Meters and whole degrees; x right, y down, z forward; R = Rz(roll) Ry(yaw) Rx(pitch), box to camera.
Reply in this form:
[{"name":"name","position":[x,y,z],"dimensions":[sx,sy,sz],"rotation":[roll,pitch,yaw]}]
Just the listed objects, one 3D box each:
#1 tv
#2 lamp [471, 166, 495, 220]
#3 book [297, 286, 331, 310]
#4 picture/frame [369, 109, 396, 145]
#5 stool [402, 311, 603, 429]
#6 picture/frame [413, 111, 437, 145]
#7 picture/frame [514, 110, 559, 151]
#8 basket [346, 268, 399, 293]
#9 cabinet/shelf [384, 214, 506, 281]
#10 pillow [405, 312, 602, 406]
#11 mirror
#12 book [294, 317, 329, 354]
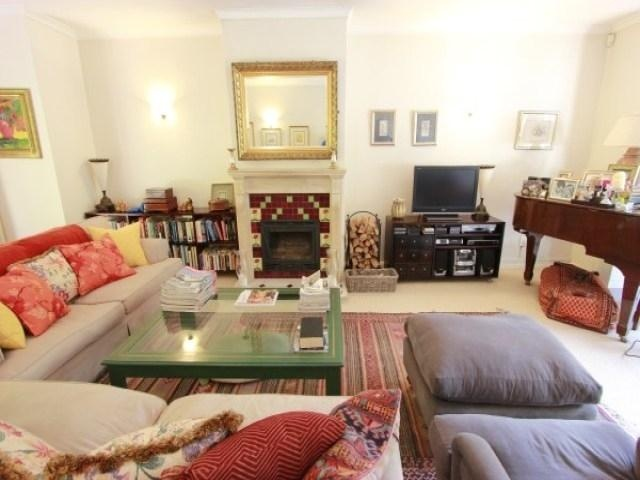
[{"name":"tv","position":[1.466,-0.564,5.182],"dimensions":[0.688,0.492,0.197],"rotation":[0,22,1]},{"name":"lamp","position":[1.917,-0.533,5.310],"dimensions":[0.226,0.617,0.217],"rotation":[2,6,-18]},{"name":"book","position":[-0.045,0.476,3.591],"dimensions":[0.192,0.114,0.186],"rotation":[2,13,4]},{"name":"picture/frame","position":[0.744,-1.331,5.264],"dimensions":[0.333,0.384,0.035],"rotation":[-7,17,-19]},{"name":"stool","position":[1.241,0.909,3.135],"dimensions":[1.269,0.591,0.623],"rotation":[1,14,8]},{"name":"picture/frame","position":[1.250,-1.321,5.259],"dimensions":[0.295,0.391,0.039],"rotation":[11,24,35]},{"name":"picture/frame","position":[2.557,-1.322,5.276],"dimensions":[0.462,0.451,0.046],"rotation":[0,17,-1]},{"name":"basket","position":[0.588,0.446,5.041],"dimensions":[0.496,0.162,0.282],"rotation":[0,17,0]},{"name":"cabinet/shelf","position":[1.458,0.119,5.306],"dimensions":[1.210,0.702,0.450],"rotation":[1,11,4]},{"name":"pillow","position":[1.222,0.821,3.018],"dimensions":[0.769,0.227,0.741],"rotation":[2,14,0]},{"name":"mirror","position":[-0.367,-1.419,4.730],"dimensions":[1.109,0.936,0.088],"rotation":[-1,23,-1]},{"name":"book","position":[-0.063,0.680,3.249],"dimensions":[0.220,0.104,0.210],"rotation":[1,25,0]}]
